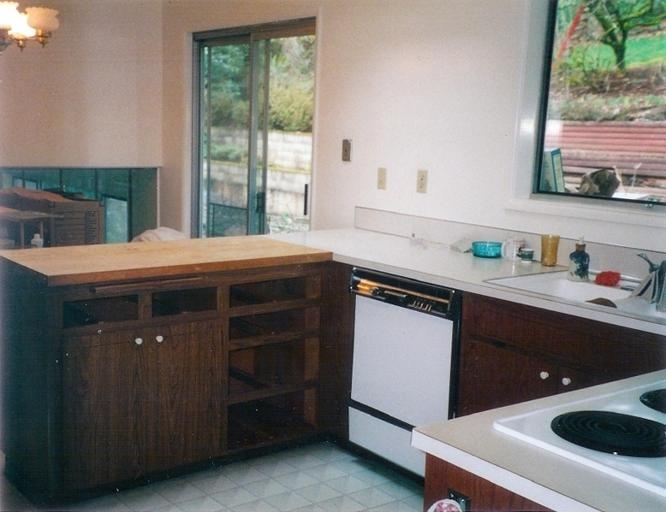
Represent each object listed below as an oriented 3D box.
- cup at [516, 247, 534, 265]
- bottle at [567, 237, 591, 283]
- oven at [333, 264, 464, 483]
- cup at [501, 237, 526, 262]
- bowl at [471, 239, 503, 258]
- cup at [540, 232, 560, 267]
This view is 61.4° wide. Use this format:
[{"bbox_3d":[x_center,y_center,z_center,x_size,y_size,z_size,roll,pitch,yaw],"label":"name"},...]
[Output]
[{"bbox_3d":[0.928,0.001,2.702,0.075,0.056,0.076,0,7,0],"label":"cup"},{"bbox_3d":[1.125,0.011,2.526,0.089,0.173,0.195,9,12,25],"label":"bottle"},{"bbox_3d":[0.487,0.534,2.736,0.754,0.856,0.740,5,4,23],"label":"oven"},{"bbox_3d":[0.888,-0.037,2.769,0.124,0.113,0.080,-2,10,-10],"label":"cup"},{"bbox_3d":[0.784,-0.035,2.818,0.114,0.045,0.088,3,7,29],"label":"bowl"},{"bbox_3d":[1.016,-0.023,2.621,0.074,0.146,0.038,4,11,2],"label":"cup"}]
